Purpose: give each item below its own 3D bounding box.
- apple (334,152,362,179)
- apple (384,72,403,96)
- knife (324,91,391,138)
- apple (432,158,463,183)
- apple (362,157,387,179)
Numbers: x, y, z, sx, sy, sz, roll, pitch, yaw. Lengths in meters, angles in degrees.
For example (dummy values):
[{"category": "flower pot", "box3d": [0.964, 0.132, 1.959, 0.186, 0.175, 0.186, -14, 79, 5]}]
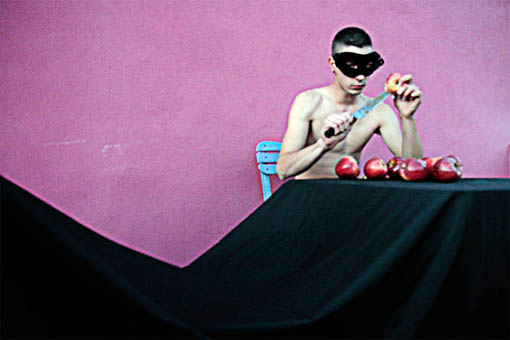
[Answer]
[{"category": "apple", "box3d": [0.424, -0.026, 2.492, 0.100, 0.123, 0.113, 14, 19, 36]}, {"category": "apple", "box3d": [0.696, -0.443, 2.716, 0.068, 0.196, 0.058, 0, 36, -1]}, {"category": "knife", "box3d": [0.528, -0.287, 2.806, 0.451, 0.067, 0.036, -35, -3, -22]}, {"category": "apple", "box3d": [0.819, 0.002, 2.304, 0.107, 0.091, 0.085, -14, -8, 34]}, {"category": "apple", "box3d": [0.538, 0.012, 2.450, 0.086, 0.091, 0.085, 46, 26, 9]}]
